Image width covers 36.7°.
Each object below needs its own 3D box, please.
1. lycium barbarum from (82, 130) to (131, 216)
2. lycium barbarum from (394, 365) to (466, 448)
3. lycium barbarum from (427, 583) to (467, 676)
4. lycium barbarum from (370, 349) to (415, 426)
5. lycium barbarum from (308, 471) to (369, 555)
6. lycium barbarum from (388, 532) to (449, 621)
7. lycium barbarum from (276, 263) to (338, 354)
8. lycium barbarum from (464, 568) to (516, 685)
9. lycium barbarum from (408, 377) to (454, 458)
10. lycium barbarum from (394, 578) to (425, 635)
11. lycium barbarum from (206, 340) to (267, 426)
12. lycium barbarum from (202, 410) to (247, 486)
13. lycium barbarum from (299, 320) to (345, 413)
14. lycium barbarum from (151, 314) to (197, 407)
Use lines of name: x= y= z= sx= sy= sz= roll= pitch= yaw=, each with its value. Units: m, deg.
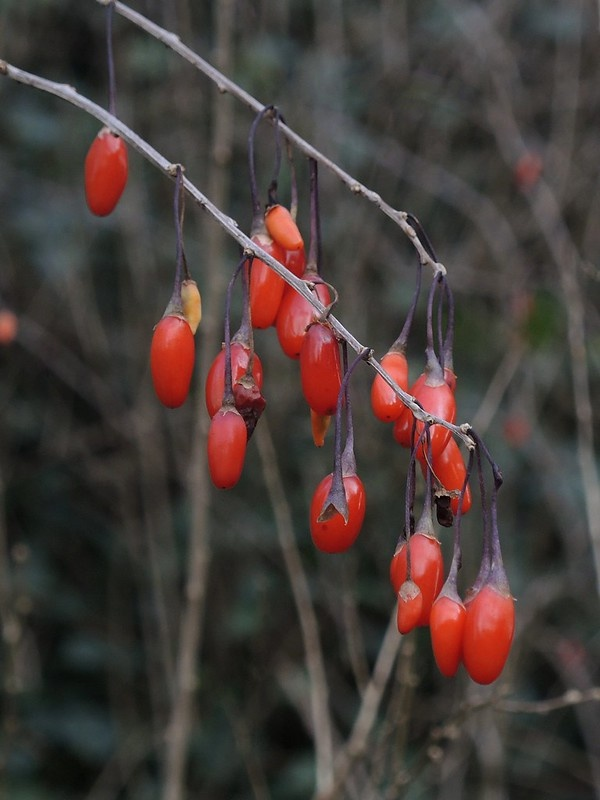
lycium barbarum: x=-0.151 y=-0.178 z=0.707 sx=0.026 sy=0.074 sz=0.035 roll=4 pitch=-1 yaw=-7
lycium barbarum: x=0.105 y=0.006 z=0.706 sx=0.029 sy=0.067 sz=0.030 roll=-13 pitch=-32 yaw=33
lycium barbarum: x=0.109 y=0.170 z=0.665 sx=0.025 sy=0.043 sz=0.045 roll=0 pitch=-52 yaw=-4
lycium barbarum: x=0.070 y=-0.011 z=0.704 sx=0.027 sy=0.026 sz=0.069 roll=-35 pitch=-41 yaw=-32
lycium barbarum: x=0.029 y=0.080 z=0.672 sx=0.037 sy=0.050 sz=0.052 roll=10 pitch=-54 yaw=-12
lycium barbarum: x=0.088 y=0.129 z=0.661 sx=0.028 sy=0.076 sz=0.032 roll=-9 pitch=-18 yaw=34
lycium barbarum: x=0.000 y=-0.063 z=0.706 sx=0.029 sy=0.073 sz=0.035 roll=4 pitch=-20 yaw=5
lycium barbarum: x=0.137 y=0.165 z=0.660 sx=0.031 sy=0.037 sz=0.085 roll=4 pitch=-72 yaw=-2
lycium barbarum: x=0.102 y=0.010 z=0.694 sx=0.024 sy=0.070 sz=0.033 roll=0 pitch=-12 yaw=4
lycium barbarum: x=0.080 y=0.146 z=0.652 sx=0.017 sy=0.042 sz=0.012 roll=5 pitch=-8 yaw=-21
lycium barbarum: x=-0.051 y=-0.019 z=0.683 sx=0.042 sy=0.064 sz=0.051 roll=-4 pitch=-51 yaw=-1
lycium barbarum: x=-0.054 y=0.038 z=0.661 sx=0.029 sy=0.038 sz=0.049 roll=14 pitch=-56 yaw=-15
lycium barbarum: x=0.017 y=-0.024 z=0.680 sx=0.026 sy=0.030 sz=0.074 roll=-12 pitch=-57 yaw=-10
lycium barbarum: x=-0.097 y=-0.025 z=0.684 sx=0.031 sy=0.047 sz=0.062 roll=6 pitch=-54 yaw=-9
